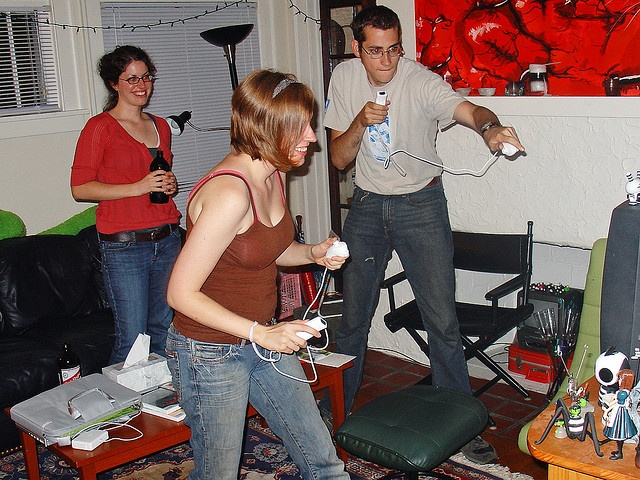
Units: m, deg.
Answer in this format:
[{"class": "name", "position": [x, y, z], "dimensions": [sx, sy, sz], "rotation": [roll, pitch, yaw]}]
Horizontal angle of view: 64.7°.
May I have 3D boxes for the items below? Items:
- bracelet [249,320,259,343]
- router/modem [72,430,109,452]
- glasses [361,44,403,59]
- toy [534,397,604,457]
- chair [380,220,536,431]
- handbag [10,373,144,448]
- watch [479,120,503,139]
[{"class": "bracelet", "position": [-0.201, 0.279, 1.506], "dimensions": [0.017, 0.061, 0.034], "rotation": [8, 16, 42]}, {"class": "router/modem", "position": [-0.913, 0.796, 1.994], "dimensions": [0.076, 0.018, 0.078], "rotation": [4, 14, 11]}, {"class": "glasses", "position": [0.317, -0.944, 2.540], "dimensions": [0.205, 0.069, 0.115], "rotation": [-2, 12, -2]}, {"class": "toy", "position": [0.739, 0.541, 1.459], "dimensions": [0.140, 0.063, 0.141], "rotation": [-5, 10, -23]}, {"class": "chair", "position": [0.840, 0.504, 3.115], "dimensions": [0.805, 1.159, 0.796], "rotation": [3, 8, 21]}, {"class": "handbag", "position": [-1.006, 0.695, 2.120], "dimensions": [0.343, 0.117, 0.338], "rotation": [-13, 22, -38]}, {"class": "watch", "position": [0.768, -0.515, 2.293], "dimensions": [0.084, 0.057, 0.083], "rotation": [-10, -29, 10]}]
